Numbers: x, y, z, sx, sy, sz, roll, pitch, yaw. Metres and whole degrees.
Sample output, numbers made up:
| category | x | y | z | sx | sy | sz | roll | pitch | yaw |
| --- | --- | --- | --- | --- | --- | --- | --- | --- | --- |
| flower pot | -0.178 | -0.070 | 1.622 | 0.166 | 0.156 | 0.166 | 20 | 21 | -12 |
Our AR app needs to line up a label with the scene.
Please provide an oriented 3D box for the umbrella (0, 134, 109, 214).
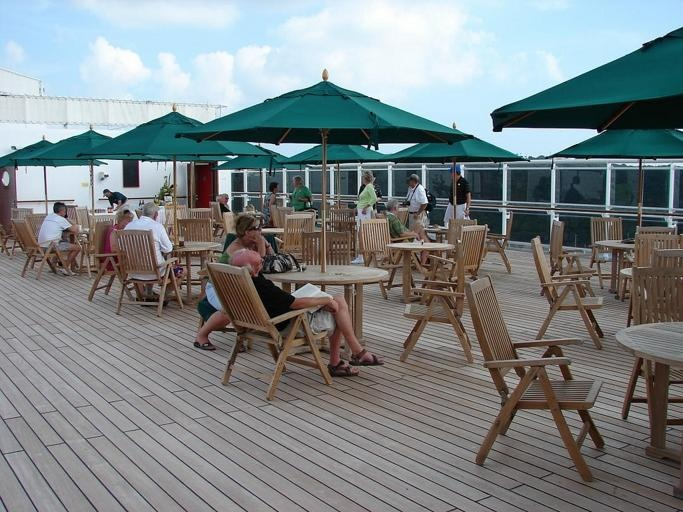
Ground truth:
| category | x | y | z | sx | sy | sz | roll | pitch | yaw |
| --- | --- | --- | --- | --- | --- | --- | --- | --- | --- |
| umbrella | -9.645 | -2.641 | 18.835 | 4.153 | 2.683 | 4.233 | -4 | 5 | -38 |

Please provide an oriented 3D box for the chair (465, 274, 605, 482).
| category | x | y | z | sx | sy | sz | roll | pitch | yaw |
| --- | --- | --- | --- | --- | --- | --- | --- | --- | --- |
| chair | 1.315 | 0.778 | 4.504 | 1.354 | 1.621 | 1.191 | -1 | 5 | 23 |

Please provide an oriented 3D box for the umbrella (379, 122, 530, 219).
| category | x | y | z | sx | sy | sz | roll | pitch | yaw |
| --- | --- | --- | --- | --- | --- | --- | --- | --- | --- |
| umbrella | 2.445 | -2.151 | 12.413 | 2.358 | 1.521 | 2.156 | 0 | 3 | 5 |

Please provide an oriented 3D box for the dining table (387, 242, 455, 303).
| category | x | y | z | sx | sy | sz | roll | pitch | yaw |
| --- | --- | --- | --- | --- | --- | --- | --- | --- | --- |
| dining table | 1.225 | 0.204 | 9.285 | 1.147 | 0.764 | 1.085 | 0 | 6 | 6 |

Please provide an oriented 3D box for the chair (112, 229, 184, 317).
| category | x | y | z | sx | sy | sz | roll | pitch | yaw |
| --- | --- | --- | --- | --- | --- | --- | --- | --- | --- |
| chair | -2.841 | 0.200 | 8.535 | 0.851 | 1.250 | 1.049 | 0 | 9 | 4 |

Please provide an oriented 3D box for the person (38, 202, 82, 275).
| category | x | y | z | sx | sy | sz | roll | pitch | yaw |
| --- | --- | --- | --- | --- | --- | --- | --- | --- | --- |
| person | -5.905 | -0.362 | 11.968 | 0.765 | 1.486 | 0.902 | -5 | 10 | -27 |

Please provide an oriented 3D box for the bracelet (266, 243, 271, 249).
| category | x | y | z | sx | sy | sz | roll | pitch | yaw |
| --- | --- | --- | --- | --- | --- | --- | --- | --- | --- |
| bracelet | -0.857 | -0.109 | 6.750 | 0.060 | 0.052 | 0.057 | 0 | 1 | 0 |

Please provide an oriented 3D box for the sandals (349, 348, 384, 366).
| category | x | y | z | sx | sy | sz | roll | pitch | yaw |
| --- | --- | --- | --- | --- | --- | --- | --- | --- | --- |
| sandals | 0.251 | 1.045 | 5.837 | 0.332 | 0.128 | 0.161 | -1 | 3 | -22 |

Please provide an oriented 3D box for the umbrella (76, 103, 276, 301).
| category | x | y | z | sx | sy | sz | roll | pitch | yaw |
| --- | --- | --- | --- | --- | --- | --- | --- | --- | --- |
| umbrella | -3.111 | -1.007 | 10.744 | 3.830 | 2.539 | 3.682 | -3 | 6 | -30 |

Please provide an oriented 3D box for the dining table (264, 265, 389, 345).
| category | x | y | z | sx | sy | sz | roll | pitch | yaw |
| --- | --- | --- | --- | --- | --- | --- | --- | --- | --- |
| dining table | -0.169 | 0.397 | 6.103 | 1.098 | 0.598 | 1.036 | -1 | 7 | 1 |

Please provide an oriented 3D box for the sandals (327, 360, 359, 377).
| category | x | y | z | sx | sy | sz | roll | pitch | yaw |
| --- | --- | --- | --- | --- | --- | --- | --- | --- | --- |
| sandals | 0.010 | 1.119 | 5.674 | 0.262 | 0.111 | 0.149 | -2 | 2 | 0 |

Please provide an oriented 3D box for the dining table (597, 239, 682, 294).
| category | x | y | z | sx | sy | sz | roll | pitch | yaw |
| --- | --- | --- | --- | --- | --- | --- | --- | --- | --- |
| dining table | 4.597 | 0.124 | 9.189 | 1.085 | 0.604 | 1.026 | 0 | 3 | 5 |

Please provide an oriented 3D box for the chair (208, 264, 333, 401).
| category | x | y | z | sx | sy | sz | roll | pitch | yaw |
| --- | --- | --- | --- | --- | --- | --- | --- | --- | --- |
| chair | -0.797 | 0.583 | 5.822 | 1.298 | 1.492 | 1.214 | -7 | 9 | -39 |
